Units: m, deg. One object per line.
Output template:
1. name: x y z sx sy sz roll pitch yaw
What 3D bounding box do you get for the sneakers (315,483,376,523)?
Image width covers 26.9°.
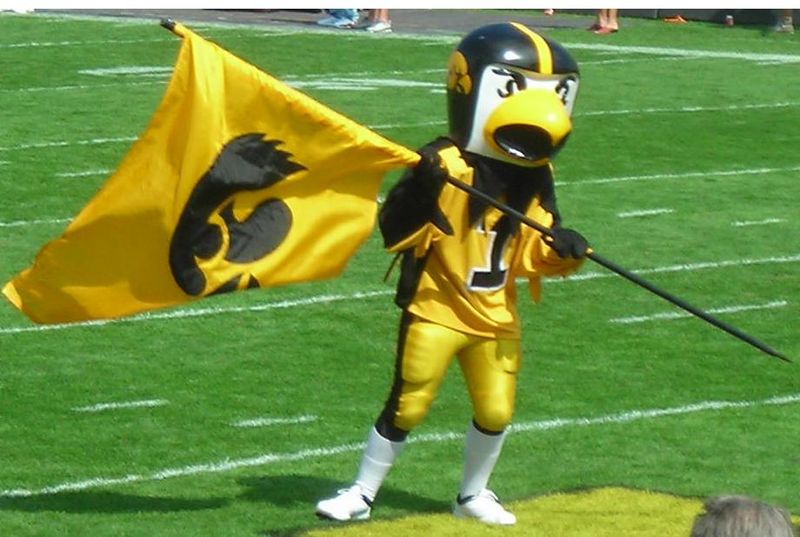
1. sneakers: -0.468 1.894 13.269 0.514 0.200 0.232 5 -3 -7

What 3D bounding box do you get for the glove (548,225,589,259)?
1. glove: 1.342 -0.185 13.177 0.327 0.266 0.242 3 9 3

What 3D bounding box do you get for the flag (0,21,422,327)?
1. flag: -1.895 -0.826 15.614 5.383 2.695 0.395 8 14 1

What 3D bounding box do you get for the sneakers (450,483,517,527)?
1. sneakers: 0.693 1.932 13.306 0.552 0.160 0.240 4 3 9
